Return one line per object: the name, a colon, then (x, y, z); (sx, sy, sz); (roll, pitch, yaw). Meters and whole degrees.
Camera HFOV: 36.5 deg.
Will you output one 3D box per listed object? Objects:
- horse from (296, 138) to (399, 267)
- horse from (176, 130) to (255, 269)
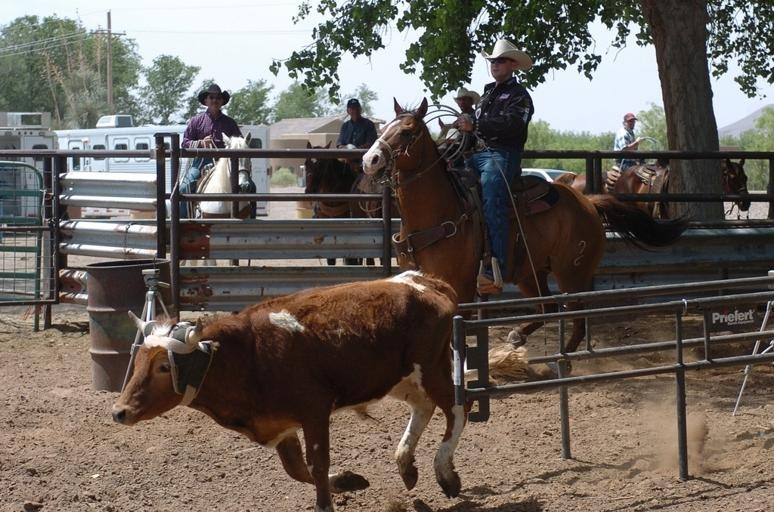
horse: (-0.601, -0.818, 18.715); (0.654, 2.354, 1.657); (-3, 2, -9)
horse: (-2.828, -0.841, 19.821); (1.113, 2.381, 3.443); (-1, 7, -8)
